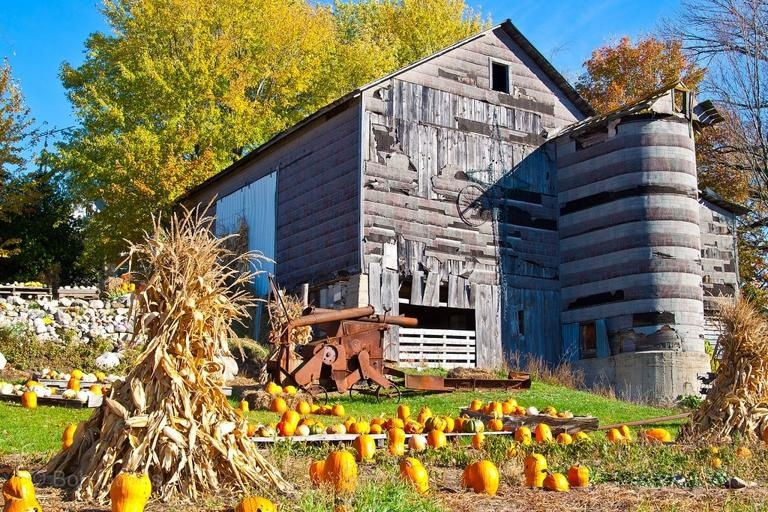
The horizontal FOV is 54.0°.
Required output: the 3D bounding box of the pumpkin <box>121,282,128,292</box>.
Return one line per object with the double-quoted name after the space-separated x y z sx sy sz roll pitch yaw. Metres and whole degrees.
-9.122 1.104 26.541 0.298 0.386 0.302 2 -8 -25 "pumpkin"
